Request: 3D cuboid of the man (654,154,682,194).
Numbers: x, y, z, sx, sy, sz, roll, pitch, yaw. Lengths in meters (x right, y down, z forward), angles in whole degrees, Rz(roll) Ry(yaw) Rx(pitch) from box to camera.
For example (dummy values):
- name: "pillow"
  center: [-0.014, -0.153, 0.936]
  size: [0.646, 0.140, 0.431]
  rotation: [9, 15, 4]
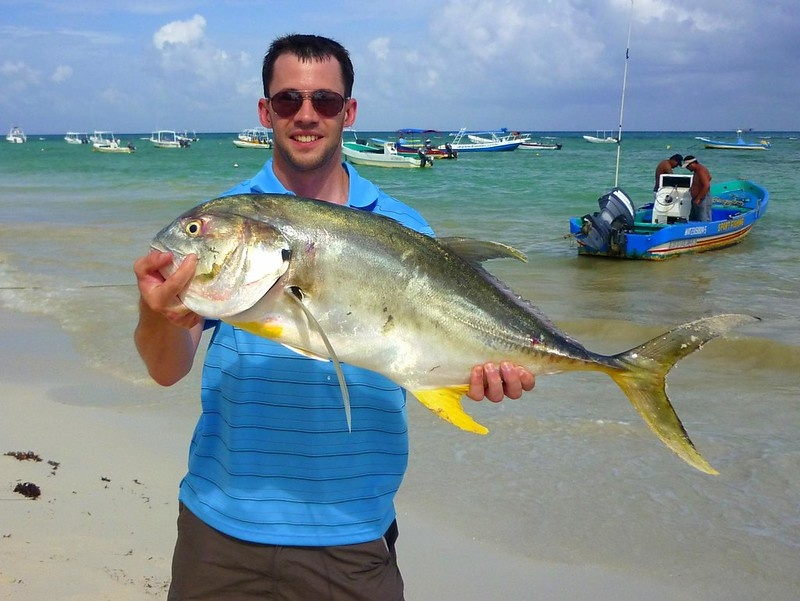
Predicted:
- name: "man"
  center: [7.048, -3.382, 18.520]
  size: [0.715, 0.993, 0.523]
  rotation: [3, 28, -20]

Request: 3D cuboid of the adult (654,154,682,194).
- name: "adult"
  center: [7.048, -3.393, 18.533]
  size: [0.749, 1.003, 0.509]
  rotation: [4, 29, -16]
